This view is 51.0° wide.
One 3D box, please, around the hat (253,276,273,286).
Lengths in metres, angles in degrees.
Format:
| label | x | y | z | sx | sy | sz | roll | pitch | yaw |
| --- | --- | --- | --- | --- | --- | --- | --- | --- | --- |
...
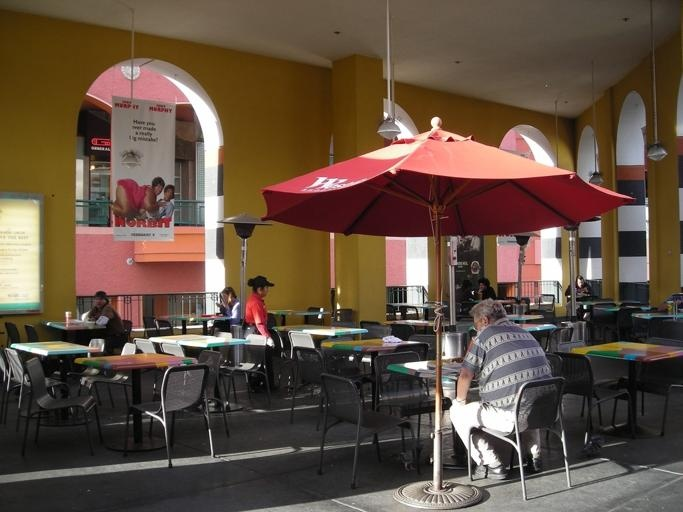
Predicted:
| label | x | y | z | sx | sy | sz | roll | pitch | yaw |
| --- | --- | --- | --- | --- | --- | --- | --- | --- | --- |
| hat | -1.112 | 0.415 | 10.313 | 0.237 | 0.115 | 0.153 | 8 | 4 | -18 |

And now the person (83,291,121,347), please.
| label | x | y | z | sx | sy | sz | roll | pitch | yaw |
| --- | --- | --- | --- | --- | --- | --- | --- | --- | --- |
| person | -3.884 | 1.171 | 11.708 | 0.605 | 1.108 | 0.531 | 1 | -7 | -29 |

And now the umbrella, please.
| label | x | y | z | sx | sy | sz | roll | pitch | yaw |
| --- | --- | --- | --- | --- | --- | --- | --- | --- | --- |
| umbrella | 0.879 | 0.464 | 6.729 | 2.954 | 3.468 | 2.099 | -1 | 7 | -6 |

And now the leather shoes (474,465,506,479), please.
| label | x | y | z | sx | sy | sz | roll | pitch | yaw |
| --- | --- | --- | --- | --- | --- | --- | --- | --- | --- |
| leather shoes | 1.443 | 2.114 | 6.972 | 0.285 | 0.127 | 0.136 | 3 | -3 | 16 |

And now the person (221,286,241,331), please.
| label | x | y | z | sx | sy | sz | roll | pitch | yaw |
| --- | --- | --- | --- | --- | --- | --- | --- | --- | --- |
| person | -1.874 | 0.928 | 12.041 | 0.229 | 0.301 | 0.734 | -5 | 26 | -14 |
